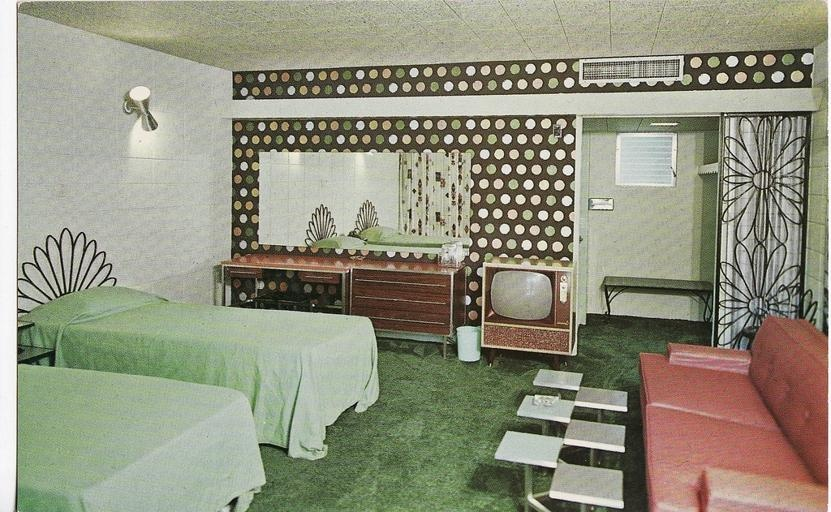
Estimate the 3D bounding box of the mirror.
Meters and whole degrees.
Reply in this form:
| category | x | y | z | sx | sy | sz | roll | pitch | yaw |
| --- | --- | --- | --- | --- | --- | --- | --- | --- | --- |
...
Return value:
| category | x | y | z | sx | sy | sz | roll | pitch | yaw |
| --- | --- | --- | --- | --- | --- | --- | --- | --- | --- |
| mirror | -0.653 | -0.635 | 7.341 | 3.155 | 1.250 | 0.036 | 3 | 9 | 26 |

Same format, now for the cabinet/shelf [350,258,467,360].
| category | x | y | z | sx | sy | sz | roll | pitch | yaw |
| --- | --- | --- | --- | --- | --- | --- | --- | --- | --- |
| cabinet/shelf | 0.006 | 0.485 | 7.087 | 1.896 | 1.149 | 0.956 | 1 | 2 | 16 |

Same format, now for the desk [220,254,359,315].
| category | x | y | z | sx | sy | sz | roll | pitch | yaw |
| --- | --- | --- | --- | --- | --- | --- | --- | --- | --- |
| desk | -1.534 | 0.410 | 7.219 | 1.470 | 0.673 | 0.531 | 4 | 11 | 8 |

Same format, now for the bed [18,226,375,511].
| category | x | y | z | sx | sy | sz | roll | pitch | yaw |
| --- | --- | --- | --- | --- | --- | --- | --- | --- | --- |
| bed | -1.893 | 0.820 | 5.382 | 2.575 | 1.159 | 1.501 | 1 | 8 | 12 |

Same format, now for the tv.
| category | x | y | z | sx | sy | sz | roll | pitch | yaw |
| --- | --- | --- | --- | --- | --- | --- | --- | --- | --- |
| tv | 1.310 | 0.469 | 6.618 | 1.299 | 0.783 | 0.708 | 0 | 1 | 17 |

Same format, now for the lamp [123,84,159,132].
| category | x | y | z | sx | sy | sz | roll | pitch | yaw |
| --- | --- | --- | --- | --- | --- | --- | --- | --- | --- |
| lamp | -2.956 | -1.578 | 6.297 | 0.382 | 0.304 | 0.513 | 8 | -41 | -12 |

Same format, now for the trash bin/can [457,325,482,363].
| category | x | y | z | sx | sy | sz | roll | pitch | yaw |
| --- | --- | --- | --- | --- | --- | --- | --- | --- | --- |
| trash bin/can | 0.537 | 0.988 | 6.629 | 0.378 | 0.331 | 0.347 | -2 | 5 | -4 |
